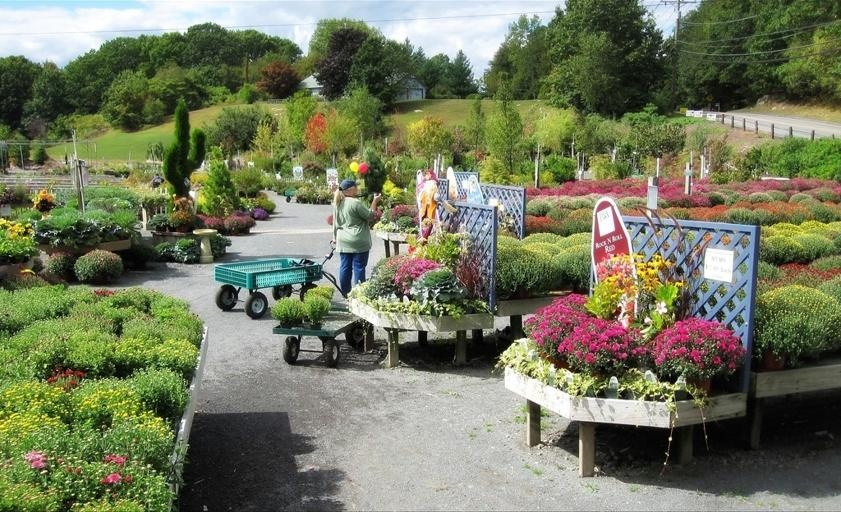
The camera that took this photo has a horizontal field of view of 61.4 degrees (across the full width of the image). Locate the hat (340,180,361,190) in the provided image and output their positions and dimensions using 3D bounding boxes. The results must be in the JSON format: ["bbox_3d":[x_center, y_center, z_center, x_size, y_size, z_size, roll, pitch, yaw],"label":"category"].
[{"bbox_3d":[-1.317,-1.263,12.645,0.285,0.203,0.412,-3,11,-9],"label":"hat"}]

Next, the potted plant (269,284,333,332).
[{"bbox_3d":[-1.825,0.852,11.428,0.742,0.530,0.740,-9,6,6],"label":"potted plant"}]

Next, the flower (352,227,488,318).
[{"bbox_3d":[0.016,0.378,11.124,1.525,0.882,1.561,-1,11,-6],"label":"flower"}]
